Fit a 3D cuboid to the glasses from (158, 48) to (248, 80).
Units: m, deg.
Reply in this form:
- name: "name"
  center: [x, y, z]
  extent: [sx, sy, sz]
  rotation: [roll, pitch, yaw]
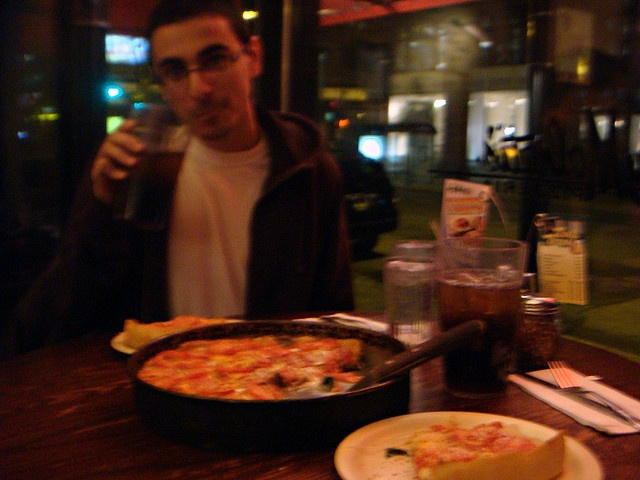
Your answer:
- name: "glasses"
  center: [-0.517, -0.775, 2.592]
  extent: [0.118, 0.140, 0.425]
  rotation: [11, 18, 38]

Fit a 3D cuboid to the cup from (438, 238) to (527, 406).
- name: "cup"
  center: [0.353, 0.170, 1.328]
  extent: [0.183, 0.294, 0.187]
  rotation: [1, -3, 0]

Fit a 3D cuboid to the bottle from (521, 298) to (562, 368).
- name: "bottle"
  center: [0.532, 0.227, 1.466]
  extent: [0.122, 0.177, 0.115]
  rotation: [1, 8, 0]

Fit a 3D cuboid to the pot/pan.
- name: "pot/pan"
  center: [-0.107, 0.291, 1.294]
  extent: [0.583, 0.123, 0.426]
  rotation: [-1, 14, 1]

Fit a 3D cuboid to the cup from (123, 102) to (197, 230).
- name: "cup"
  center: [-0.498, -0.214, 1.717]
  extent: [0.150, 0.361, 0.264]
  rotation: [-2, 14, -5]
